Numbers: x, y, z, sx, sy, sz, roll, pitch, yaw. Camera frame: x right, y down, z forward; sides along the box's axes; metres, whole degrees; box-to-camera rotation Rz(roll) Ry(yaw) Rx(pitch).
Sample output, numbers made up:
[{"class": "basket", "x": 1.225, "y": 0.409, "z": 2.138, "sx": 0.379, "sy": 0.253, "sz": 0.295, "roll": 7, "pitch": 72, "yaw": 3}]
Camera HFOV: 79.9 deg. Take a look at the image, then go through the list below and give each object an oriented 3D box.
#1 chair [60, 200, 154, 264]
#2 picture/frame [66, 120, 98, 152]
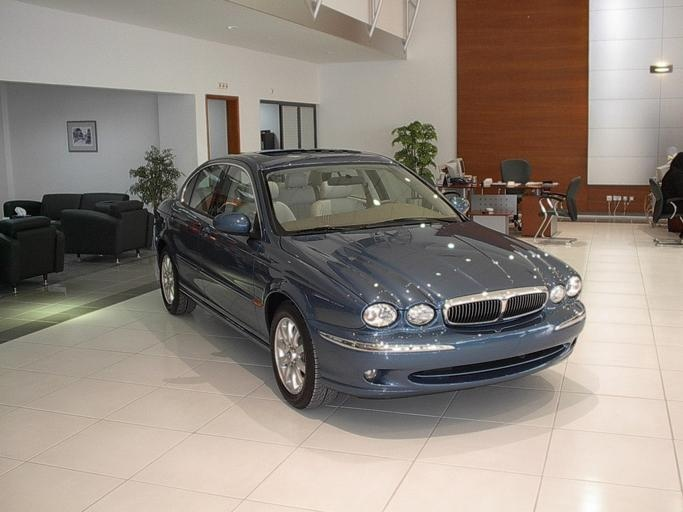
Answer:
[{"class": "chair", "x": -4.843, "y": -0.552, "z": 8.603, "sx": 1.453, "sy": 1.176, "sz": 1.480, "roll": 4, "pitch": 9, "yaw": 16}, {"class": "picture/frame", "x": -7.627, "y": -3.570, "z": 12.061, "sx": 1.059, "sy": 0.961, "sz": 0.040, "roll": 1, "pitch": 3, "yaw": 3}]
